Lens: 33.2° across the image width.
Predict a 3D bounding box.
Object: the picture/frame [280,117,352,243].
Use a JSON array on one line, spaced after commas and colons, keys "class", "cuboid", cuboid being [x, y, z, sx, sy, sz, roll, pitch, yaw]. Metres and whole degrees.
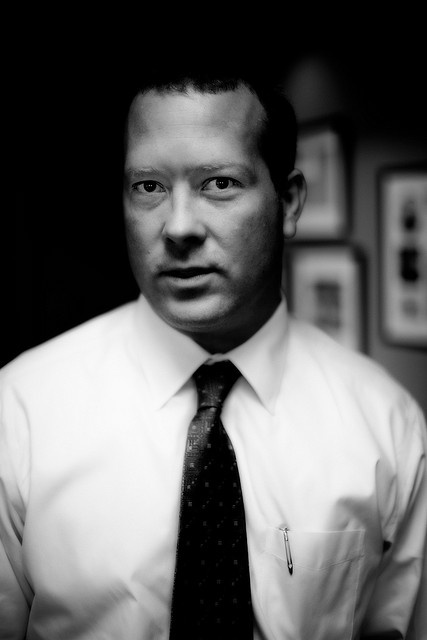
[{"class": "picture/frame", "cuboid": [0.267, -0.364, 1.798, 0.154, 0.474, 0.435, 1, 5, 10]}]
